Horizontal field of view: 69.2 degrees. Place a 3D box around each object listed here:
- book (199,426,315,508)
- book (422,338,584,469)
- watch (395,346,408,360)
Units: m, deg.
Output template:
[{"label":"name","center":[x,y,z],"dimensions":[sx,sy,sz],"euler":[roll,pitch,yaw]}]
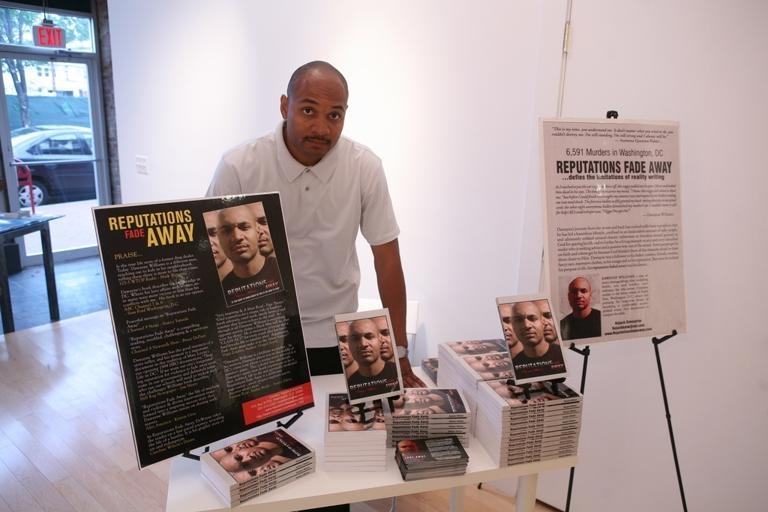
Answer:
[{"label":"book","center":[-0.460,0.780,2.060],"dimensions":[0.370,0.166,0.159],"euler":[-9,11,-26]},{"label":"book","center":[0.513,0.437,2.272],"dimensions":[0.409,0.310,0.708],"euler":[-3,11,-13]},{"label":"watch","center":[0.078,0.421,2.405],"dimensions":[0.054,0.049,0.063],"euler":[0,-2,1]}]
